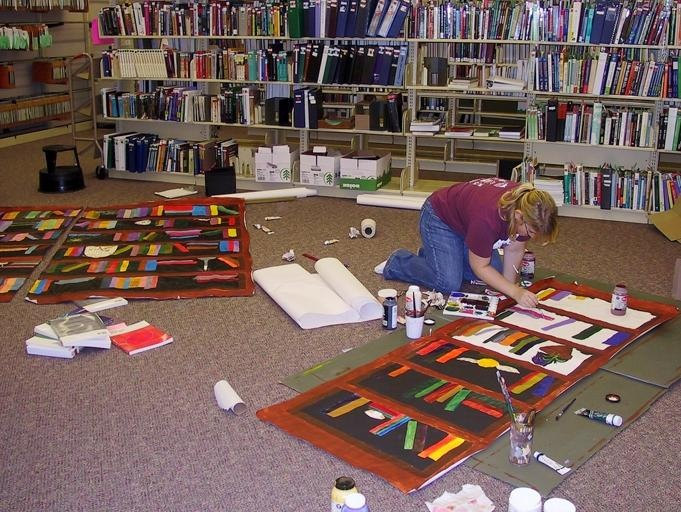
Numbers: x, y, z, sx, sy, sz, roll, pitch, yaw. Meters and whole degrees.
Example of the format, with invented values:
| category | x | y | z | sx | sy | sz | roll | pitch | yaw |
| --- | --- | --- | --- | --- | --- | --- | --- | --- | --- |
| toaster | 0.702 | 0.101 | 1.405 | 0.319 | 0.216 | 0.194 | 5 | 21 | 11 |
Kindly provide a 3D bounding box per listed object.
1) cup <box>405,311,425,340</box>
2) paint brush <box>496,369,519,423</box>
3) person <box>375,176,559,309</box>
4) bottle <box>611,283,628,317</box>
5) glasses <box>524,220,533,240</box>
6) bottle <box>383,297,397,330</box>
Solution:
| category | x | y | z | sx | sy | sz | roll | pitch | yaw |
| --- | --- | --- | --- | --- | --- | --- | --- | --- | --- |
| cup | 0.452 | 0.405 | 3.222 | 0.110 | 0.161 | 0.183 | 5 | 17 | 9 |
| paint brush | 0.798 | 0.682 | 2.542 | 0.053 | 0.353 | 0.066 | 8 | 43 | 41 |
| person | 0.954 | -0.129 | 3.669 | 0.668 | 0.761 | 1.355 | -9 | 15 | -28 |
| bottle | 1.813 | 0.271 | 3.421 | 0.098 | 0.194 | 0.167 | 12 | 21 | 26 |
| glasses | 1.096 | -0.159 | 3.084 | 0.049 | 0.084 | 0.096 | -19 | -9 | 14 |
| bottle | 0.311 | 0.353 | 3.339 | 0.094 | 0.212 | 0.101 | 2 | 19 | -1 |
